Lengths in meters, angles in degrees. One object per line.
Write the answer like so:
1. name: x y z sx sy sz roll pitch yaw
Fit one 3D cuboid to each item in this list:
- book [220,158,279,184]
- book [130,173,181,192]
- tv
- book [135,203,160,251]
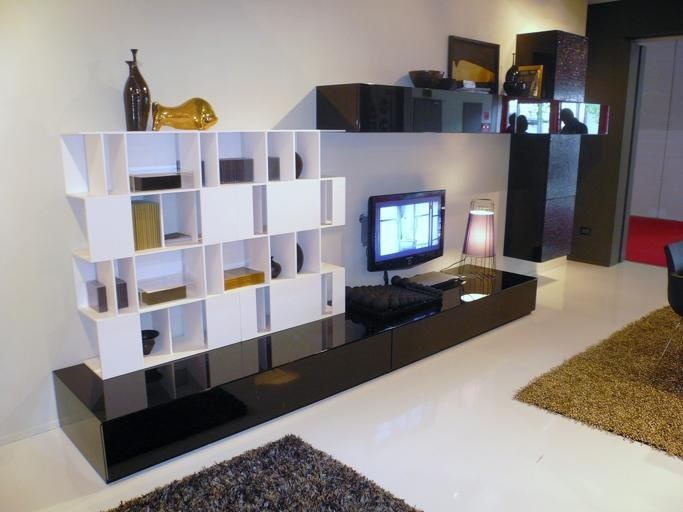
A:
1. book: -0.614 -0.592 3.626 0.463 0.160 0.054 -13 18 -41
2. book: -1.120 -0.454 3.237 0.307 0.094 0.120 -7 15 -24
3. tv: 0.559 -0.252 4.704 0.657 0.518 0.049 -13 18 -43
4. book: -1.145 -0.171 3.218 0.072 0.267 0.185 -1 7 -5
